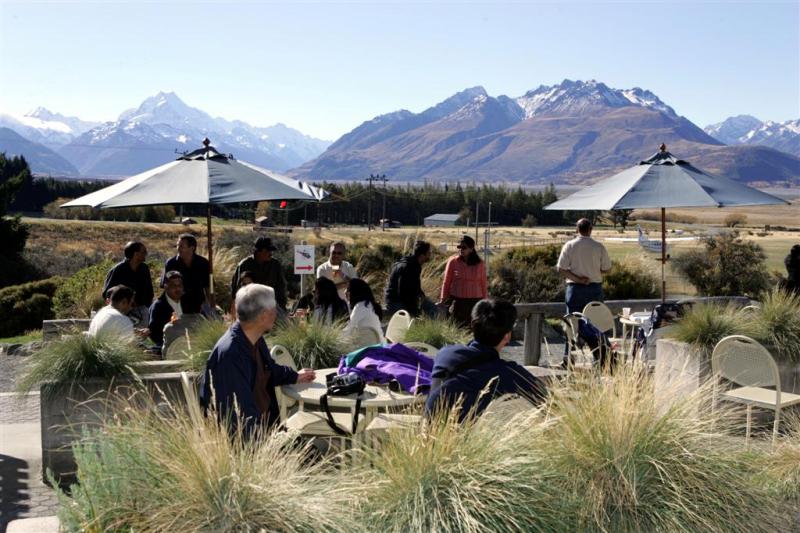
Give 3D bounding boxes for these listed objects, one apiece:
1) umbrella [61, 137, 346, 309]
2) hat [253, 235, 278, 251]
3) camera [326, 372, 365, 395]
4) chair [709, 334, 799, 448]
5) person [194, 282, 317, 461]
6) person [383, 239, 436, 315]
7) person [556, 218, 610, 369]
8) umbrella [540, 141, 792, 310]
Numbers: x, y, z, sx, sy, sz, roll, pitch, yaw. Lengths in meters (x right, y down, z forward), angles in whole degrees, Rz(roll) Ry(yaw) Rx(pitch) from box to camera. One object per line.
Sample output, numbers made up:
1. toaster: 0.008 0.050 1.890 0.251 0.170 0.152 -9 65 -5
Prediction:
1. umbrella: -2.525 -0.438 9.150 1.975 1.621 2.134 4 13 16
2. hat: -1.823 -0.320 9.751 0.248 0.149 0.186 -2 8 -30
3. camera: -0.473 0.980 6.235 0.174 0.117 0.254 0 0 39
4. chair: 3.289 1.115 6.728 0.746 1.259 0.630 -18 21 -40
5. person: -1.222 1.148 6.057 0.761 1.942 0.904 6 14 13
6. person: 0.186 0.320 10.688 0.690 1.332 0.692 5 2 24
7. person: 2.611 0.296 10.227 0.676 2.025 0.694 -1 17 15
8. umbrella: 3.587 -0.442 9.907 2.696 2.260 2.688 -6 8 -38
